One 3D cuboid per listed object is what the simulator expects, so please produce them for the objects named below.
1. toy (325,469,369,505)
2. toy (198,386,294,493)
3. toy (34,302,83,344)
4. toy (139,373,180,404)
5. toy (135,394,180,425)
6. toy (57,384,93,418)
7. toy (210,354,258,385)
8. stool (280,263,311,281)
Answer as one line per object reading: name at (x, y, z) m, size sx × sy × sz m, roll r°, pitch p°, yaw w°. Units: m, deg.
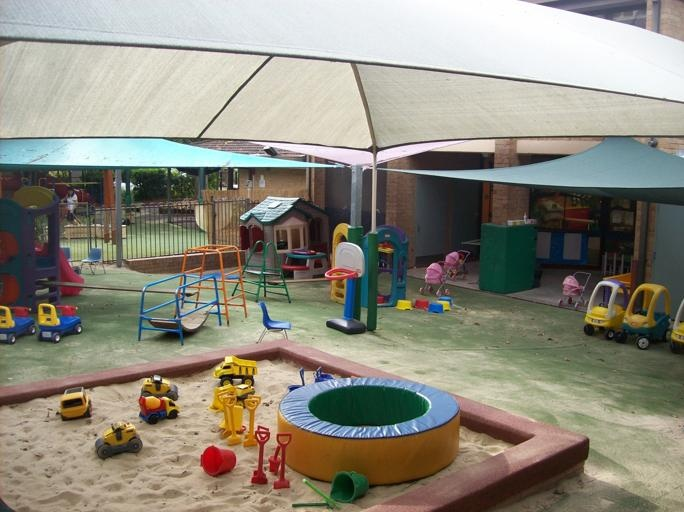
toy at (0.056, 1.792, 4.110) m, size 0.263 × 0.216 × 0.264 m, roll 0°, pitch -1°, yaw 25°
toy at (-0.786, 1.589, 4.433) m, size 0.574 × 0.283 × 0.837 m, roll 14°, pitch 30°, yaw 3°
toy at (-4.302, 1.044, 7.913) m, size 0.352 × 0.405 × 0.602 m, roll 1°, pitch 4°, yaw 18°
toy at (-1.927, 1.406, 5.590) m, size 0.427 × 0.217 × 0.225 m, roll -1°, pitch 6°, yaw -15°
toy at (-1.824, 1.512, 5.244) m, size 0.398 × 0.221 × 0.224 m, roll -5°, pitch 10°, yaw -30°
toy at (-2.654, 1.470, 5.223) m, size 0.320 × 0.276 × 0.294 m, roll 0°, pitch -1°, yaw -27°
toy at (-1.219, 1.317, 6.023) m, size 0.528 × 0.288 × 0.266 m, roll 2°, pitch 4°, yaw -7°
stool at (-1.276, 0.400, 12.888) m, size 0.704 × 0.379 × 0.663 m, roll 0°, pitch -1°, yaw 35°
